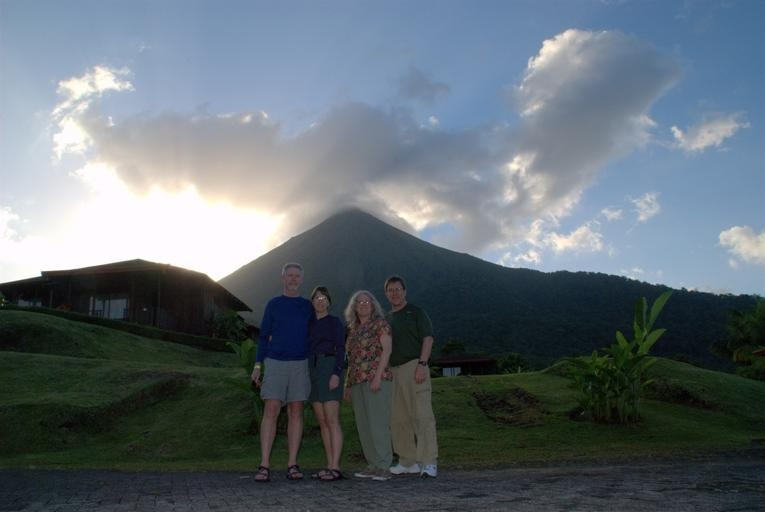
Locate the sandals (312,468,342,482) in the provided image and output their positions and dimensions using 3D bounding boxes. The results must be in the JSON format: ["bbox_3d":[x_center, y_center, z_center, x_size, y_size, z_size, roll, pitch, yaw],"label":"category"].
[{"bbox_3d":[-0.825,3.624,8.719,0.228,0.110,0.323,-13,-20,42],"label":"sandals"}]

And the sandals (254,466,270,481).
[{"bbox_3d":[-1.981,3.588,8.743,0.219,0.226,0.351,3,-2,-2],"label":"sandals"}]

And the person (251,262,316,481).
[{"bbox_3d":[-1.686,2.147,8.805,0.926,2.712,0.452,3,-2,-13],"label":"person"}]

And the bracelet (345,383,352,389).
[{"bbox_3d":[-0.583,2.247,9.100,0.084,0.101,0.110,-13,-19,9],"label":"bracelet"}]

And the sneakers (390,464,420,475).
[{"bbox_3d":[0.381,3.700,9.163,0.498,0.233,0.200,7,-13,-6],"label":"sneakers"}]

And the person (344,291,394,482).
[{"bbox_3d":[-0.204,2.189,8.985,1.009,2.212,0.450,2,-2,38],"label":"person"}]
